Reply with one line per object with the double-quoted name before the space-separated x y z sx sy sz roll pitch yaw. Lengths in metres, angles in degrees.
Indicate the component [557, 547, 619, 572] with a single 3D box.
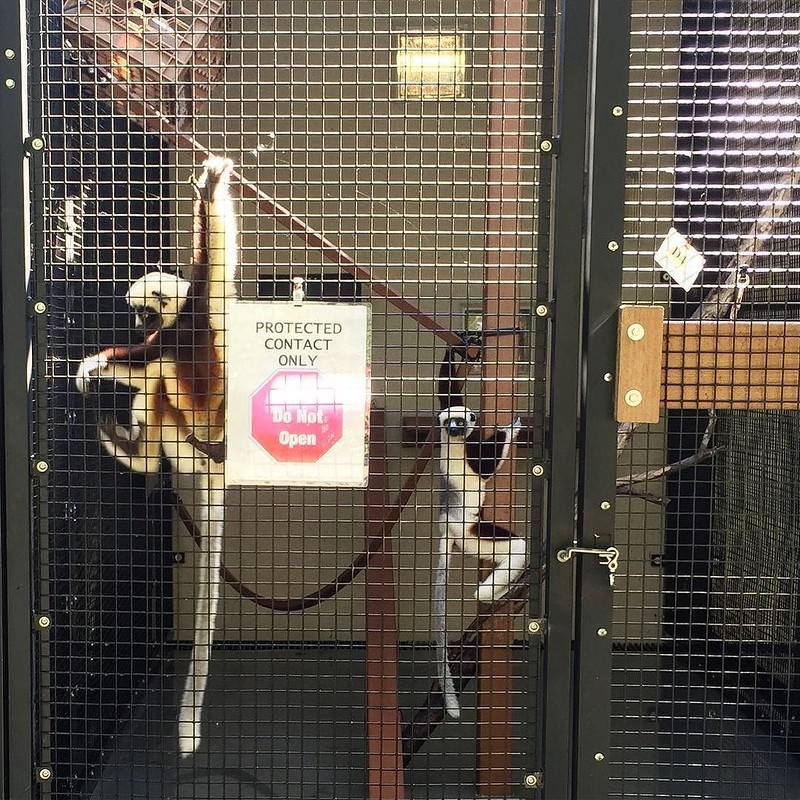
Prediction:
"component" 0.354 0.297 2.846 0.119 0.048 0.063 1 -1 2
